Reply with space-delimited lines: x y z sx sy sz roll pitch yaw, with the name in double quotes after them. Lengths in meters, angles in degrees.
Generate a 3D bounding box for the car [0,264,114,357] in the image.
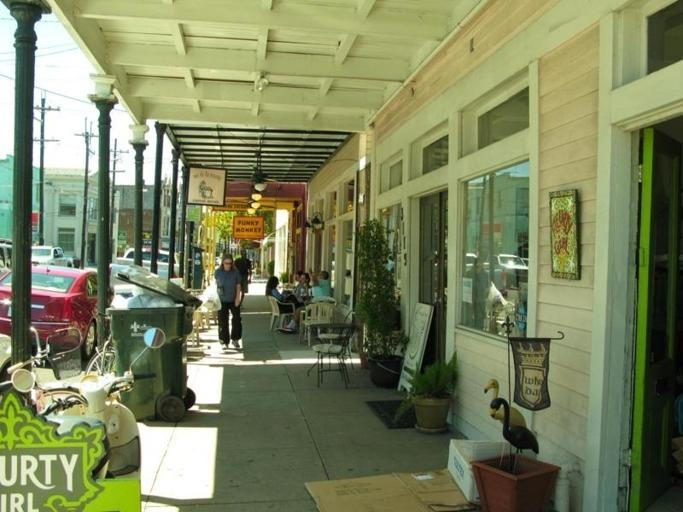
-4.275 0.843 10.711 1.195 1.095 2.878 2 4 -15 "car"

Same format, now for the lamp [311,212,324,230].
-0.599 -0.897 17.465 0.362 0.561 0.381 4 -5 -7 "lamp"

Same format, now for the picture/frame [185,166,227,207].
-2.851 -1.475 14.742 0.867 0.992 0.125 2 -2 -9 "picture/frame"

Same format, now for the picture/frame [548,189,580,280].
1.858 -0.187 5.842 0.098 0.736 0.381 -1 4 -12 "picture/frame"

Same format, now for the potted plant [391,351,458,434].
0.955 1.466 7.604 0.687 0.961 0.836 1 -2 -32 "potted plant"

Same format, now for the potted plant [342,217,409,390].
0.533 0.562 10.067 0.633 2.208 1.947 -1 4 0 "potted plant"

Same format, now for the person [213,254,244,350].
-1.924 0.762 11.959 0.425 1.634 0.733 -1 4 -10 "person"

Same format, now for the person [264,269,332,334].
-0.963 0.981 14.946 1.117 1.520 1.246 -5 5 -18 "person"

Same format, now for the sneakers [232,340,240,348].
-1.833 1.510 12.194 0.077 0.109 0.231 2 -2 -23 "sneakers"

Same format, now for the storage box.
1.217 1.732 6.101 0.469 0.471 0.687 4 -9 -10 "storage box"
